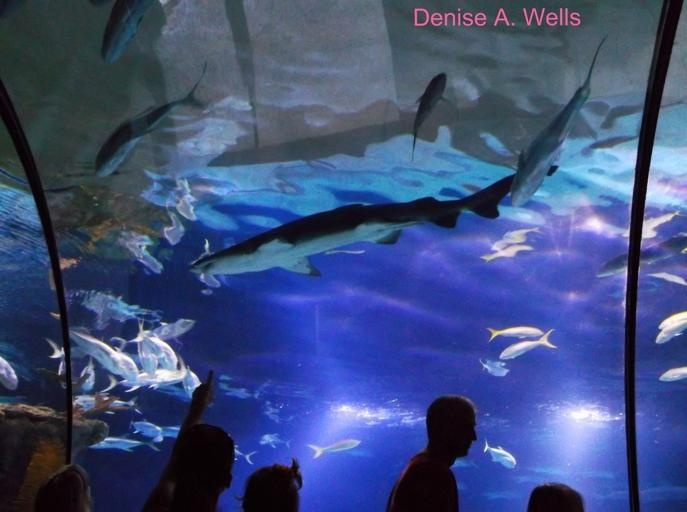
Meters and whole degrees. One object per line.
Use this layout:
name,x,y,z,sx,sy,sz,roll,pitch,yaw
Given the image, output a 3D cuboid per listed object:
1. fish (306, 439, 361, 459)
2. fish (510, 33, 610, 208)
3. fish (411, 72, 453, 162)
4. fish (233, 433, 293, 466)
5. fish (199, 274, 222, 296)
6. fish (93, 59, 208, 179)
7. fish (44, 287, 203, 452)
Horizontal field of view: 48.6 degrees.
fish,-0.045,2.722,10.539,0.708,0.287,0.505,-8,-33,36
fish,2.492,-1.401,8.717,0.974,1.496,0.857,4,7,12
fish,0.944,-1.636,8.434,0.391,0.213,0.758,13,-60,-27
fish,-1.255,2.629,10.314,1.035,0.332,0.296,-4,-9,-13
fish,-1.720,0.369,9.741,0.246,0.065,0.290,-40,-68,12
fish,-2.238,-1.464,8.586,1.393,0.987,0.377,-8,-39,36
fish,-3.064,1.319,10.072,1.178,1.384,0.946,-4,-2,-37
